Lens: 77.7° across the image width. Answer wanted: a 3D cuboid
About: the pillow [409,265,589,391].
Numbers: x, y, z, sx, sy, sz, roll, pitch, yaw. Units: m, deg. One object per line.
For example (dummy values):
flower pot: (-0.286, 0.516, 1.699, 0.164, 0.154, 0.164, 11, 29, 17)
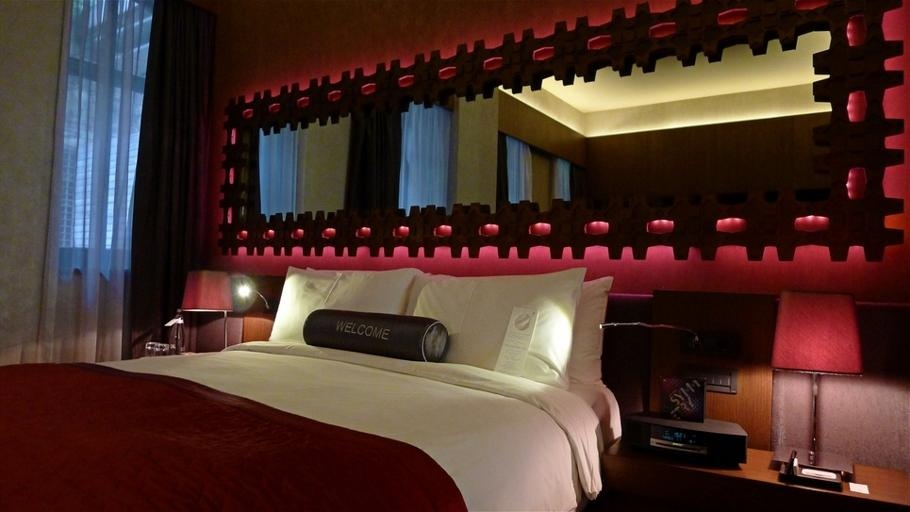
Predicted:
pillow: (0.347, 0.416, 3.626, 1.005, 0.738, 0.279, 1, -18, 31)
